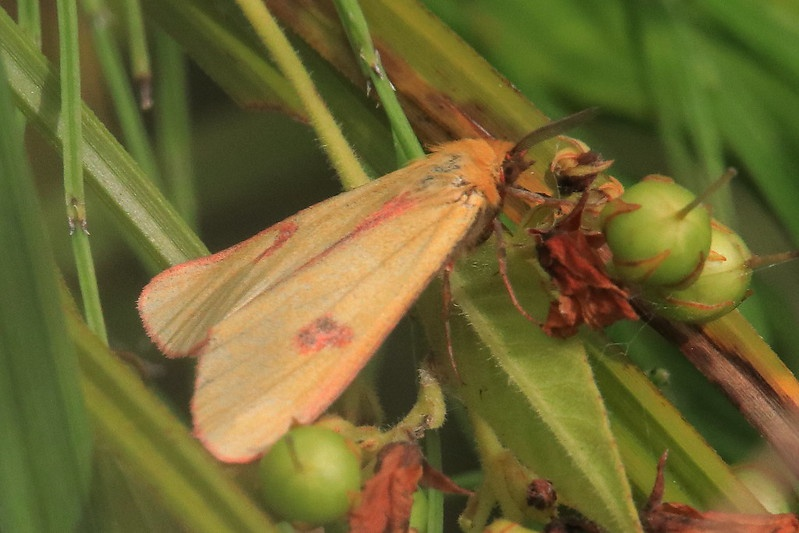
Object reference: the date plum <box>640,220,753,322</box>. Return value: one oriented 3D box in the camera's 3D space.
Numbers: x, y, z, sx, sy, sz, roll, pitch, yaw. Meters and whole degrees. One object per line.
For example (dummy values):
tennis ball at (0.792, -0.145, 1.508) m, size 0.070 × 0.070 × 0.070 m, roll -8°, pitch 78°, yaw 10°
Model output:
date plum at (0.593, 0.026, 1.876) m, size 0.115 × 0.200 × 0.170 m, roll 43°, pitch 49°, yaw 15°

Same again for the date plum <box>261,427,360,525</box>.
date plum at (-0.166, 0.371, 1.785) m, size 0.161 × 0.168 × 0.093 m, roll -57°, pitch 0°, yaw -7°
